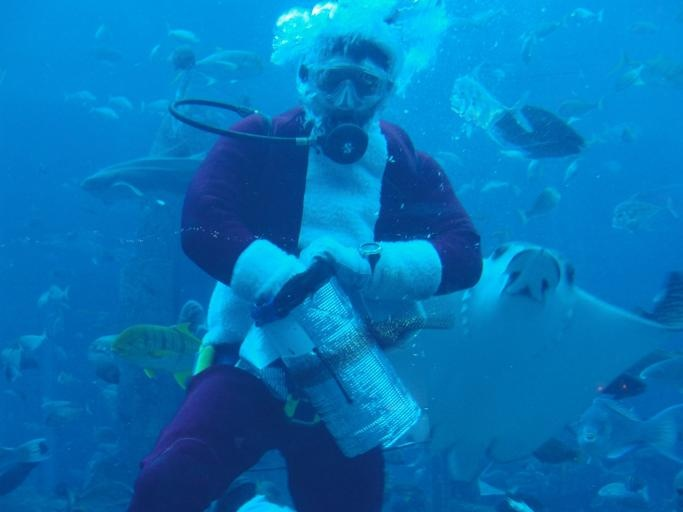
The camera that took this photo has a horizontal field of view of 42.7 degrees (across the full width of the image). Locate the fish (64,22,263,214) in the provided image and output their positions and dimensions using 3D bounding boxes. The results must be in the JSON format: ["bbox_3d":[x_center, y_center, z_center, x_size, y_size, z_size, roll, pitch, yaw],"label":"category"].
[{"bbox_3d":[-1.437,-0.863,7.038,0.994,1.739,1.155,-9,26,-42],"label":"fish"}]

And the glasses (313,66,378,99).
[{"bbox_3d":[0.031,-1.055,5.327,0.414,0.177,0.051,4,17,2],"label":"glasses"}]
